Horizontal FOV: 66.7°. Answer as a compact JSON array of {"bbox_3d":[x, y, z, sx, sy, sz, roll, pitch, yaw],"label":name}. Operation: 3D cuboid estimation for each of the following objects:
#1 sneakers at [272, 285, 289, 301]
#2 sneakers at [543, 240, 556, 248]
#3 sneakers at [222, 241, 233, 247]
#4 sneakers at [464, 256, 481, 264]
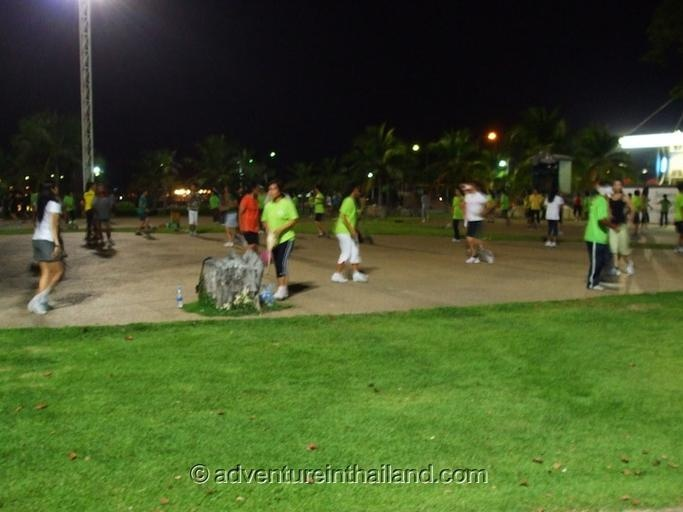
[{"bbox_3d":[-1.145,0.687,9.810,0.321,0.260,0.242,-3,9,-20],"label":"sneakers"},{"bbox_3d":[7.735,-0.452,19.106,0.258,0.264,0.634,-1,-2,21],"label":"sneakers"},{"bbox_3d":[-3.987,-0.417,18.492,0.167,0.227,0.467,0,-2,40],"label":"sneakers"},{"bbox_3d":[3.672,0.104,14.439,0.484,0.248,0.189,-1,9,8],"label":"sneakers"}]
